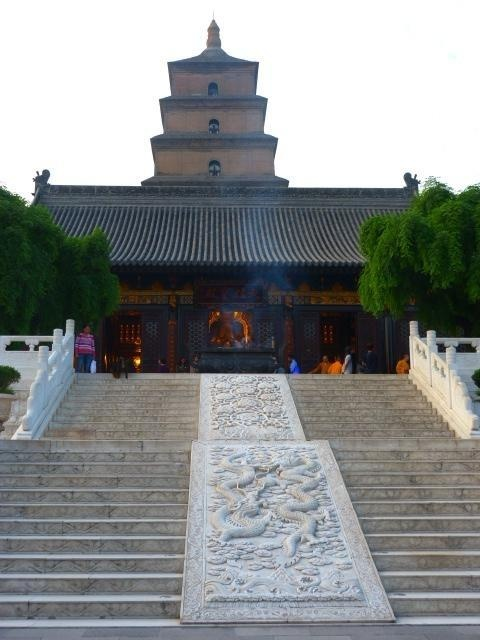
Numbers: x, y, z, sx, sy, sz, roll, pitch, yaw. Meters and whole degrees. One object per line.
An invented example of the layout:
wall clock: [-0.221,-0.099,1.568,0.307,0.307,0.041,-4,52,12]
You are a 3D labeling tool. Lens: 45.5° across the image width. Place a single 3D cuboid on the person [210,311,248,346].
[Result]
person: [-0.313,0.188,14.502,0.758,0.710,0.408,5,-26,-16]
